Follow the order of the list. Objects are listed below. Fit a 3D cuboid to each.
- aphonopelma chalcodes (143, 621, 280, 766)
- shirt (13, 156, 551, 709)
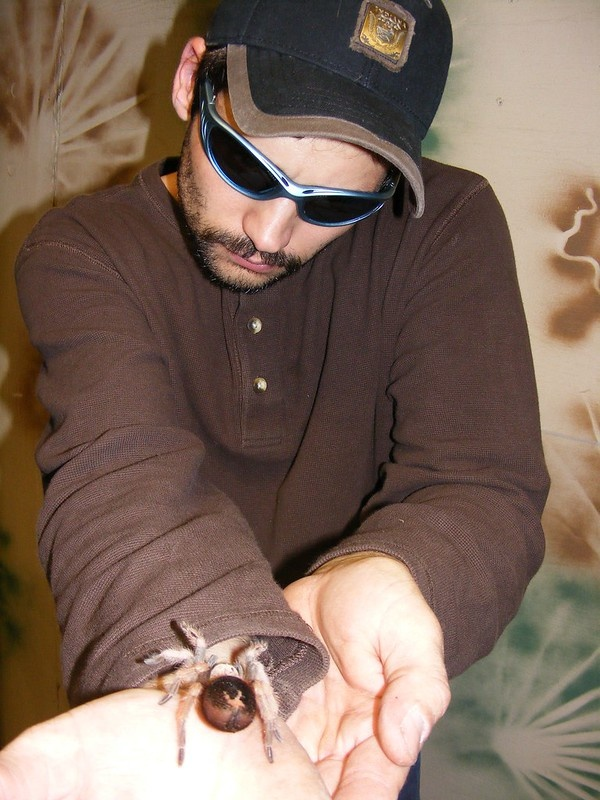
[{"bbox_3d":[-0.106,0.407,1.154,0.180,0.065,0.208,6,29,-17],"label":"aphonopelma chalcodes"},{"bbox_3d":[-0.050,0.026,1.574,1.037,0.404,1.173,-2,89,-23],"label":"shirt"}]
